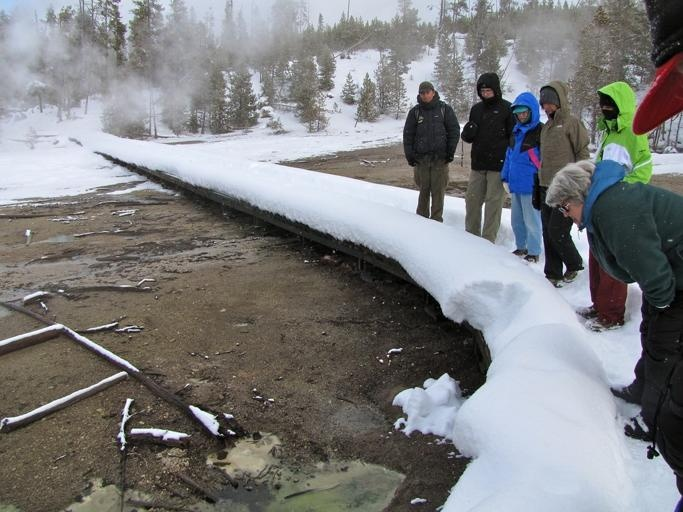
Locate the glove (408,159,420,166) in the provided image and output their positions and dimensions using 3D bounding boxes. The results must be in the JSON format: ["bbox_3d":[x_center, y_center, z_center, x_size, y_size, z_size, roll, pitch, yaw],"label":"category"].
[{"bbox_3d":[0.862,-1.134,6.088,0.110,0.115,0.067,-8,12,-23],"label":"glove"}]

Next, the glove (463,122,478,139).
[{"bbox_3d":[1.413,-1.385,5.577,0.153,0.237,0.119,3,12,-2],"label":"glove"}]

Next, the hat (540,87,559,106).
[{"bbox_3d":[1.876,-1.469,4.683,0.153,0.178,0.220,-3,17,7],"label":"hat"}]

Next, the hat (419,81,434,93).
[{"bbox_3d":[0.969,-1.953,5.861,0.130,0.103,0.188,-7,14,15],"label":"hat"}]

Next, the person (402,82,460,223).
[{"bbox_3d":[1.042,-1.233,6.026,0.617,1.569,0.282,1,14,6],"label":"person"}]

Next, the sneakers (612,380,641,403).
[{"bbox_3d":[1.847,0.892,3.301,0.127,0.054,0.132,-5,17,-7],"label":"sneakers"}]

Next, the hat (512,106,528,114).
[{"bbox_3d":[1.744,-1.453,5.001,0.060,0.063,0.153,-11,18,-36],"label":"hat"}]
